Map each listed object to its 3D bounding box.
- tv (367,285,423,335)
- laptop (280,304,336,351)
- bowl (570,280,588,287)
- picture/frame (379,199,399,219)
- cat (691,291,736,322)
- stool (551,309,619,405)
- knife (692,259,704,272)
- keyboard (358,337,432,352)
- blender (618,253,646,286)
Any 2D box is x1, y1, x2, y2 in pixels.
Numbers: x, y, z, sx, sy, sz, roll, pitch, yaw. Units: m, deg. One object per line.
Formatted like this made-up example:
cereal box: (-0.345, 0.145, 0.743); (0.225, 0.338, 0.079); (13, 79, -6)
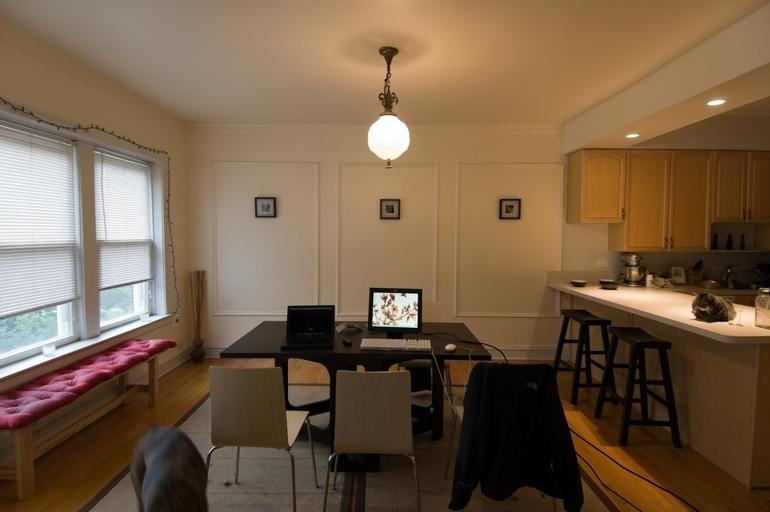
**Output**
tv: (0.089, 0.517, 5.076); (0.496, 0.415, 0.086); (0, 0, 14)
laptop: (-0.700, 0.632, 4.836); (0.574, 0.312, 0.561); (-7, 8, -38)
bowl: (2.296, 0.328, 6.512); (0.164, 0.071, 0.133); (1, 4, 12)
picture/frame: (0.055, -0.589, 6.821); (0.248, 0.240, 0.025); (0, 2, -2)
cat: (2.867, 0.467, 4.808); (0.344, 0.159, 0.214); (3, -4, -28)
stool: (2.165, 1.097, 5.881); (0.633, 1.123, 0.940); (3, 4, 2)
knife: (3.836, 0.125, 6.730); (0.040, 0.163, 0.099); (21, 25, -30)
keyboard: (0.091, 0.772, 4.812); (0.612, 0.069, 0.266); (0, 4, 1)
blender: (3.023, 0.163, 6.696); (0.275, 0.374, 0.356); (-3, 5, 3)
